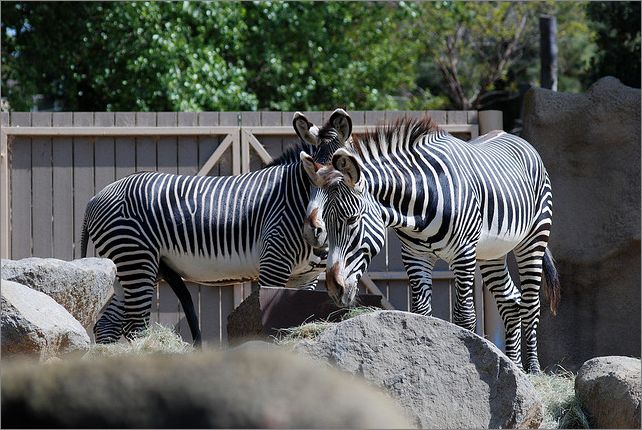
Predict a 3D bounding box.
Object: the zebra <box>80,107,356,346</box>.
[{"bbox_3d":[-1.158,0.254,21.985,4.342,3.312,1.363,-5,-10,3],"label":"zebra"}]
